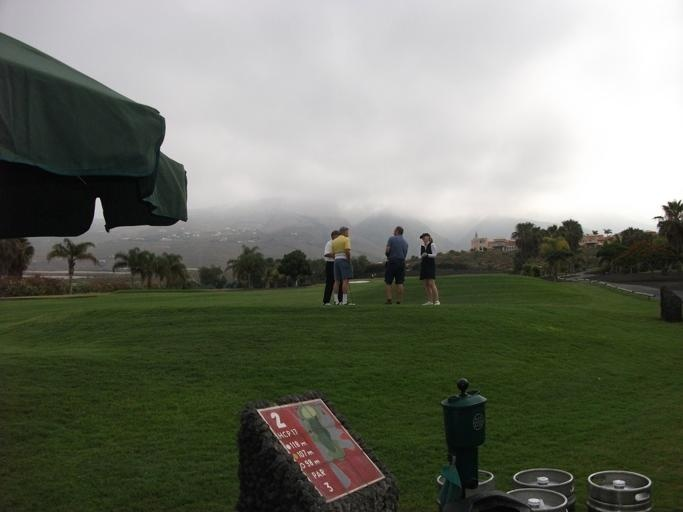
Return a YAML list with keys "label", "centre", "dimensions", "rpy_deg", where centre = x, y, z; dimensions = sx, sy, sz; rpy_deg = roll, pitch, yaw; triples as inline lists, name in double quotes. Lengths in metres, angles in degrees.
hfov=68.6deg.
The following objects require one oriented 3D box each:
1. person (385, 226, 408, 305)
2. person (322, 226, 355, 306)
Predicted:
- label: "person"
  centre: [1.618, 0.317, 14.892]
  dimensions: [0.614, 2.386, 1.264]
  rpy_deg: [4, 11, 11]
- label: "person"
  centre: [-0.106, 0.313, 14.714]
  dimensions: [0.797, 2.612, 1.497]
  rpy_deg: [1, 11, -2]
